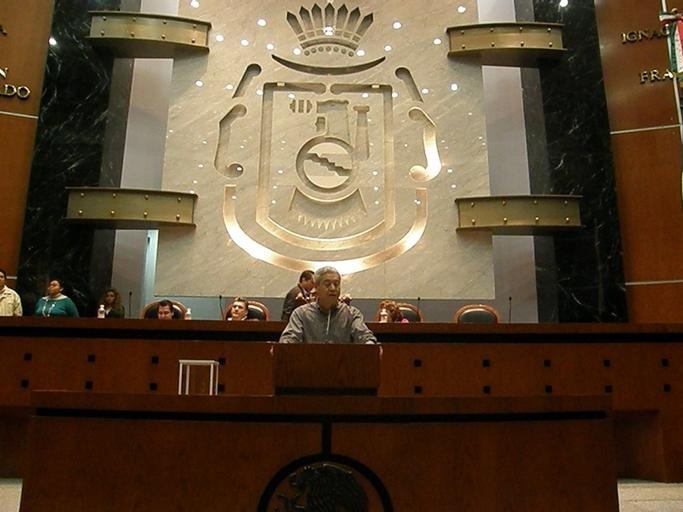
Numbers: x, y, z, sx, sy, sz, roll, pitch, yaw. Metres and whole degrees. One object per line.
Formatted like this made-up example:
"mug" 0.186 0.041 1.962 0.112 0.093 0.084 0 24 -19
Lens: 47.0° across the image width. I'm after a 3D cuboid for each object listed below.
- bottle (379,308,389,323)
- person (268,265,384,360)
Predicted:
"bottle" 0.549 0.778 10.256 0.129 0.165 0.135 -1 -4 0
"person" -0.155 0.516 8.057 0.916 0.705 0.549 0 15 2
